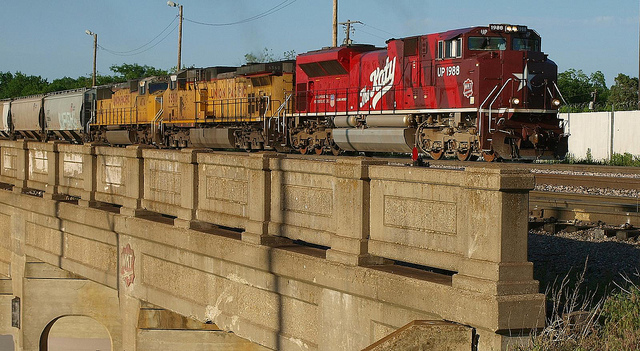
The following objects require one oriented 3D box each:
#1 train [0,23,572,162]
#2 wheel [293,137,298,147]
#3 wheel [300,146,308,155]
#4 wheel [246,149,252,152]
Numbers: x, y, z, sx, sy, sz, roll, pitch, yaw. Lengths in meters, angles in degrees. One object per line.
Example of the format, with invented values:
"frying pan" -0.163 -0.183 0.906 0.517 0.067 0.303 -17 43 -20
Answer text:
"train" -7.466 -4.533 45.611 45.496 4.969 5.985 4 -4 43
"wheel" -1.291 -1.792 38.782 0.153 0.397 0.578 8 -3 -16
"wheel" -0.821 -1.353 38.334 0.075 0.414 0.512 -4 2 -30
"wheel" -3.904 -1.420 41.077 0.318 0.170 0.669 8 -3 -9
